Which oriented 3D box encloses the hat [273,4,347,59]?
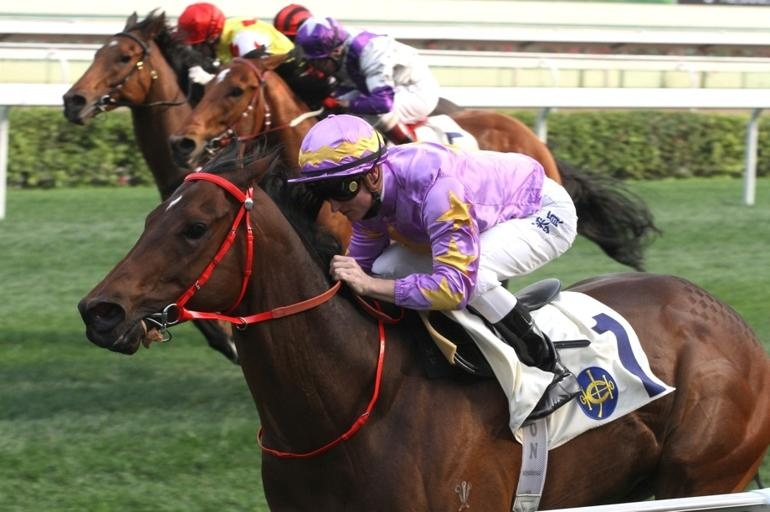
[{"bbox_3d":[-0.412,-1.270,6.141,0.358,0.347,0.379,-1,3,-16],"label":"hat"}]

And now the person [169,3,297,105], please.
[{"bbox_3d":[-0.885,-1.191,6.193,1.121,0.295,0.441,5,-37,14],"label":"person"}]

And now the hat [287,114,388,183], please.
[{"bbox_3d":[-0.189,-0.440,4.459,0.368,0.178,0.268,-2,0,-30],"label":"hat"}]

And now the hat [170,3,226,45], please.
[{"bbox_3d":[-1.067,-1.338,6.373,0.293,0.186,0.227,-1,-13,21],"label":"hat"}]

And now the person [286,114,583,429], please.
[{"bbox_3d":[0.311,-0.009,4.817,1.242,1.357,1.006,-16,26,-15],"label":"person"}]
